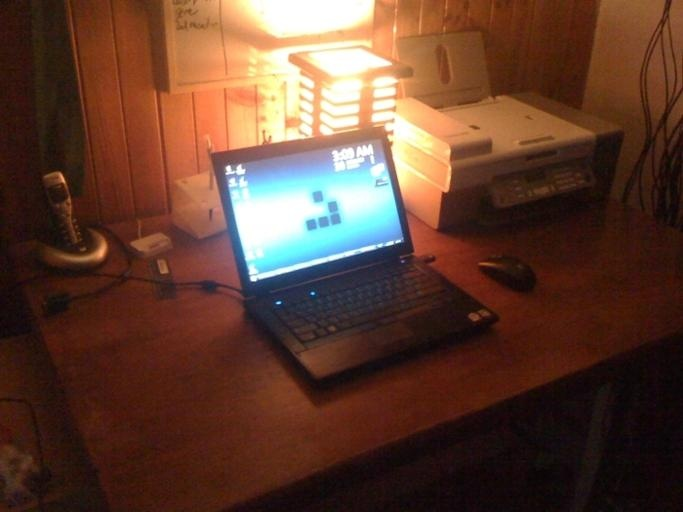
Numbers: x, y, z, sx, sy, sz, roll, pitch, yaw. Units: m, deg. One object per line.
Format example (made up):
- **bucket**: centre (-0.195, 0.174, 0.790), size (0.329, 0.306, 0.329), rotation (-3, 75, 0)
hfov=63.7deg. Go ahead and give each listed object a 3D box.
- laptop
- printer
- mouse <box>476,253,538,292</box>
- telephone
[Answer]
- **laptop**: centre (-0.021, 0.019, 1.320), size (0.545, 0.392, 0.574), rotation (-16, 43, -27)
- **printer**: centre (0.394, -0.278, 1.831), size (0.712, 0.514, 0.647), rotation (-20, 46, -20)
- **mouse**: centre (0.414, 0.030, 1.353), size (0.069, 0.042, 0.126), rotation (-18, 41, -27)
- **telephone**: centre (-0.688, -0.087, 1.374), size (0.176, 0.183, 0.137), rotation (37, 43, 23)
